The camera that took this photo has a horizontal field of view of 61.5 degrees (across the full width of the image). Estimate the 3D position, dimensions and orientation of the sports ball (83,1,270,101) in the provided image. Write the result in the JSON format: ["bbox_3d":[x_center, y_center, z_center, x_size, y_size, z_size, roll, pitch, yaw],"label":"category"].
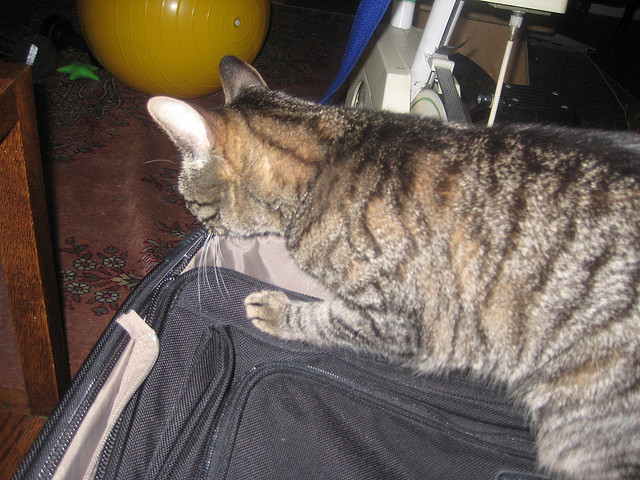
[{"bbox_3d":[-0.570,-0.761,2.127,0.511,0.472,0.462,17,27,27],"label":"sports ball"}]
